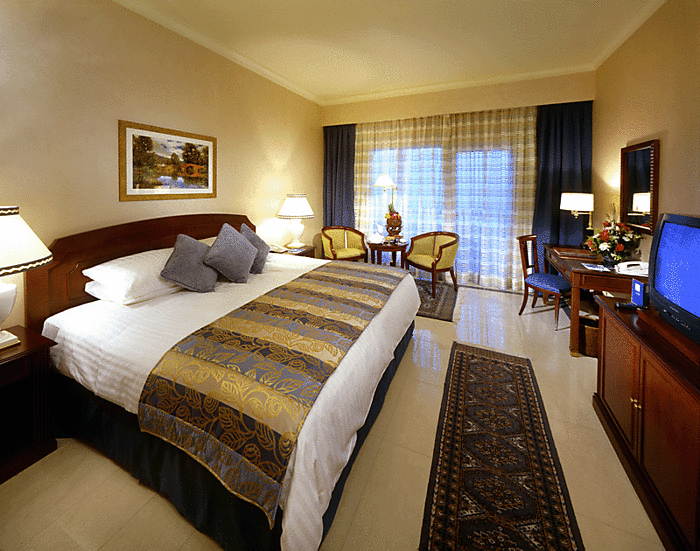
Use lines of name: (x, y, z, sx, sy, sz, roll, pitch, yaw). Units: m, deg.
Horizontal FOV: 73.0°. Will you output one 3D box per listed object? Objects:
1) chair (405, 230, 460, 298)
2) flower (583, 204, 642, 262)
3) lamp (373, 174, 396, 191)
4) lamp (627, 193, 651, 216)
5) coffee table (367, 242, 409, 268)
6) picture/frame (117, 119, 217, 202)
chair: (1.185, -0.238, 6.845, 0.780, 1.115, 0.876, -7, 12, -37)
flower: (2.616, -0.389, 4.720, 0.442, 0.513, 0.458, 6, 27, 35)
lamp: (0.518, -1.374, 7.003, 0.251, 0.294, 0.273, 5, 19, 19)
lamp: (2.871, -0.716, 4.684, 0.154, 0.199, 0.168, -1, 6, -2)
coffee table: (0.552, -0.353, 6.903, 0.381, 0.451, 0.415, 2, 10, 14)
picture/frame: (-1.850, -1.154, 4.705, 0.020, 0.659, 0.885, 5, 8, 31)
